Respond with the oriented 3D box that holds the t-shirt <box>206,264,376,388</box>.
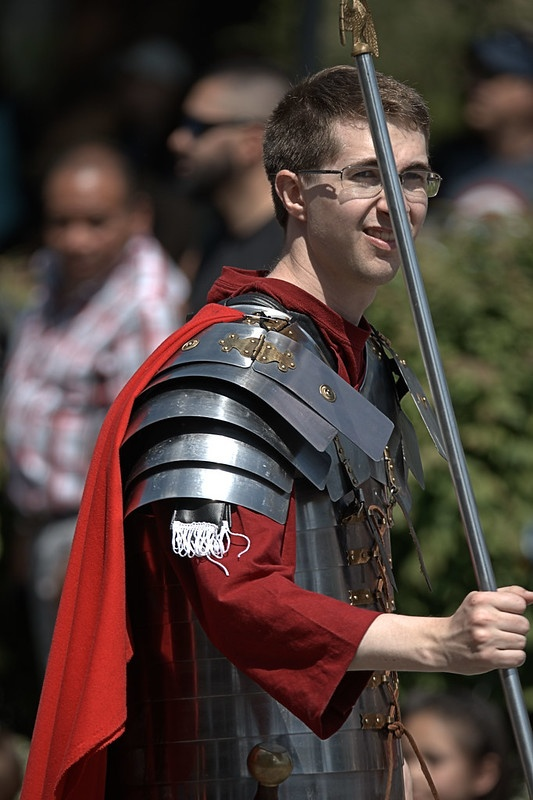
[{"bbox_3d":[0.060,-0.190,2.193,0.369,0.265,0.190,22,74,27],"label":"t-shirt"}]
